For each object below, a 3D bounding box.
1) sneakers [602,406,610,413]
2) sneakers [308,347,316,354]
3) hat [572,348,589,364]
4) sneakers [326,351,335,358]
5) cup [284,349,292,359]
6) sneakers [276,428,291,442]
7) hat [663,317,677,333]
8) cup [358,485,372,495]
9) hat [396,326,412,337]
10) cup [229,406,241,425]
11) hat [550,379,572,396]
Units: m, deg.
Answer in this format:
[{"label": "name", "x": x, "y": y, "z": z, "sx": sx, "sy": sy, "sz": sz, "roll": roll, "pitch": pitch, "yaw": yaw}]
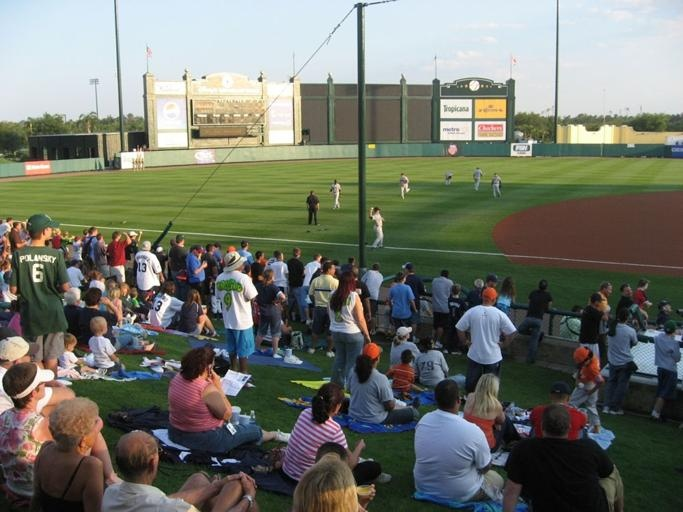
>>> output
[{"label": "sneakers", "x": 4.794, "y": 2.760, "z": 13.939, "sx": 0.066, "sy": 0.089, "sz": 0.118, "roll": -1, "pitch": 12, "yaw": 18}, {"label": "sneakers", "x": -0.641, "y": 2.046, "z": 16.785, "sx": 0.121, "sy": 0.122, "sz": 0.266, "roll": -1, "pitch": -2, "yaw": -8}, {"label": "hat", "x": 4.067, "y": 1.633, "z": 12.962, "sx": 0.221, "sy": 0.169, "sz": 0.320, "roll": -11, "pitch": 36, "yaw": 53}, {"label": "sneakers", "x": -0.242, "y": 2.096, "z": 16.534, "sx": 0.094, "sy": 0.067, "sz": 0.165, "roll": -2, "pitch": 1, "yaw": -30}, {"label": "cup", "x": -1.100, "y": 2.025, "z": 16.008, "sx": 0.151, "sy": 0.174, "sz": 0.155, "roll": 1, "pitch": -2, "yaw": 0}, {"label": "sneakers", "x": -0.858, "y": 2.689, "z": 11.667, "sx": 0.183, "sy": 0.160, "sz": 0.438, "roll": -13, "pitch": -16, "yaw": 26}, {"label": "hat", "x": 5.857, "y": 1.234, "z": 13.745, "sx": 0.177, "sy": 0.243, "sz": 0.247, "roll": 3, "pitch": -16, "yaw": 22}, {"label": "cup", "x": 0.277, "y": 2.821, "z": 9.373, "sx": 0.124, "sy": 0.087, "sz": 0.117, "roll": -4, "pitch": -8, "yaw": -1}, {"label": "hat", "x": 1.182, "y": 1.397, "z": 14.099, "sx": 0.304, "sy": 0.114, "sz": 0.191, "roll": -15, "pitch": 23, "yaw": -39}, {"label": "cup", "x": -1.610, "y": 2.401, "z": 11.719, "sx": 0.176, "sy": 0.144, "sz": 0.189, "roll": 1, "pitch": -1, "yaw": 0}, {"label": "hat", "x": 3.036, "y": 1.789, "z": 10.627, "sx": 0.289, "sy": 0.250, "sz": 0.420, "roll": 1, "pitch": 3, "yaw": 13}]
